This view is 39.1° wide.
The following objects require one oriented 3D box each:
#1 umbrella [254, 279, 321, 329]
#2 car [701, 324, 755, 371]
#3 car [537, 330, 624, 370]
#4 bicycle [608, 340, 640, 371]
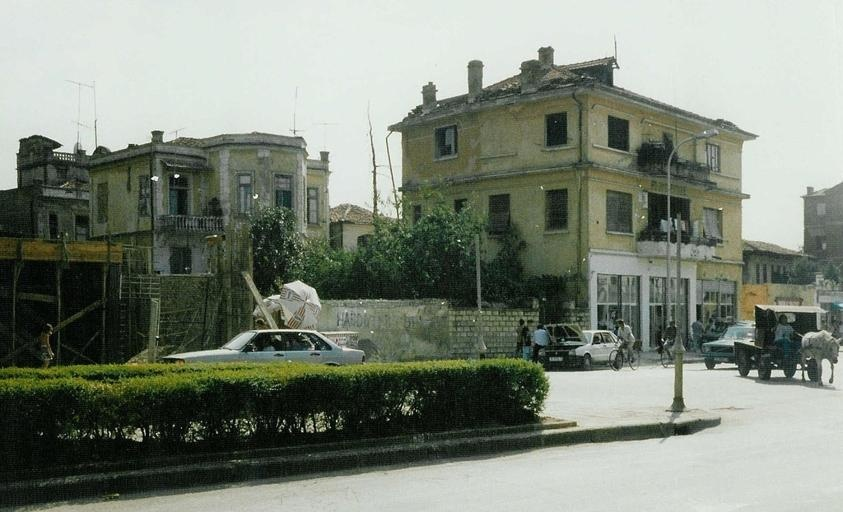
[{"bbox_3d":[-5.950,2.352,53.758,2.640,2.041,1.691,1,11,-11],"label":"umbrella"},{"bbox_3d":[14.690,4.368,57.344,1.972,2.435,4.135,1,1,34],"label":"car"},{"bbox_3d":[7.663,4.930,57.196,5.318,2.355,2.630,0,0,14],"label":"car"},{"bbox_3d":[9.828,5.032,58.318,0.945,1.313,1.969,-6,-10,44],"label":"bicycle"}]
